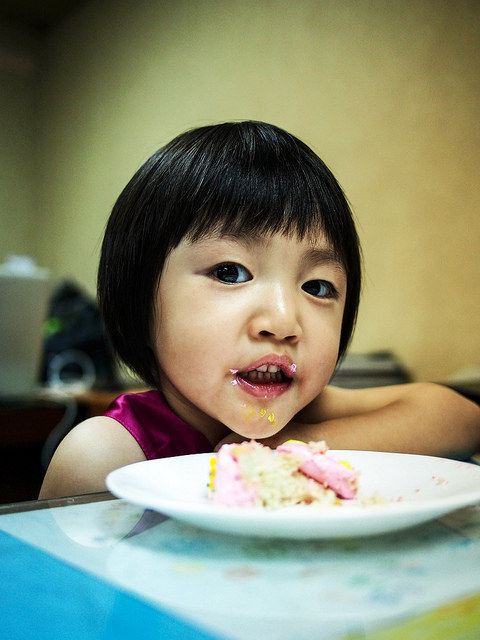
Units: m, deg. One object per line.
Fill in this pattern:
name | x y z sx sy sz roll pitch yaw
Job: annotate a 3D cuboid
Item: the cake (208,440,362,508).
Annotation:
cake | 0.035 0.109 0.465 0.088 0.026 0.058 4 -9 -30
